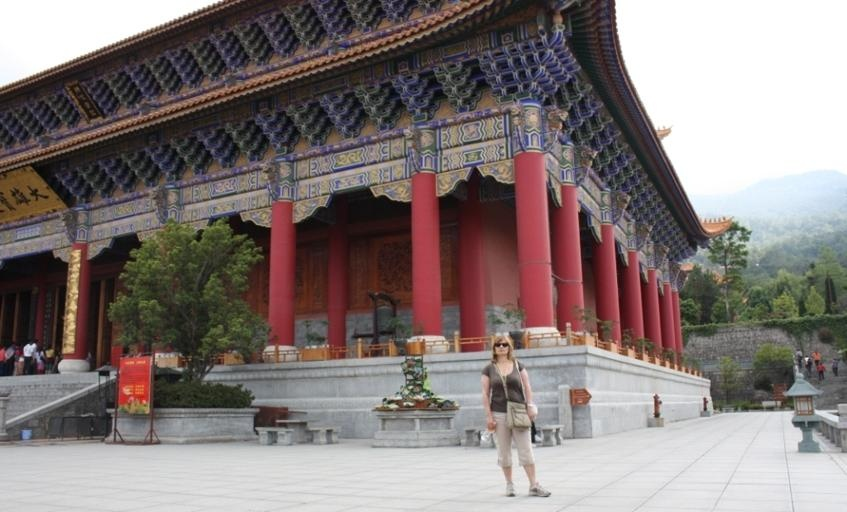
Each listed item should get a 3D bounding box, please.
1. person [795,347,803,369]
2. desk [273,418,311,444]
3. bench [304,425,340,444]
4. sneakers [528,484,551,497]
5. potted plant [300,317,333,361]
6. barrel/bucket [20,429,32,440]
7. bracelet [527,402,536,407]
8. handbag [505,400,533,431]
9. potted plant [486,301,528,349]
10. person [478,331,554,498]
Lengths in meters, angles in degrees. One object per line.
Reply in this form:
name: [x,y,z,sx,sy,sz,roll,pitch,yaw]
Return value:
person: [27.149,7.538,55.548,0.410,1.233,1.012,-10,-15,24]
desk: [-4.192,5.663,24.747,0.896,0.500,0.856,-1,-8,9]
bench: [-3.323,5.783,24.743,1.012,0.552,0.881,-6,-13,13]
sneakers: [2.625,5.317,17.402,0.478,0.197,0.220,-1,-4,12]
potted plant: [-4.082,3.146,28.437,1.413,1.275,0.797,4,-1,-15]
barrel/bucket: [-13.419,6.021,26.072,0.281,0.341,0.377,-16,-18,41]
bracelet: [2.460,3.452,17.792,0.271,0.073,0.257,0,-6,2]
handbag: [2.150,3.651,17.553,0.642,0.592,0.315,4,-28,-9]
potted plant: [2.977,2.494,26.035,1.267,1.225,0.857,-13,-14,2]
person: [2.043,3.682,17.726,1.394,3.615,0.930,-8,-13,20]
